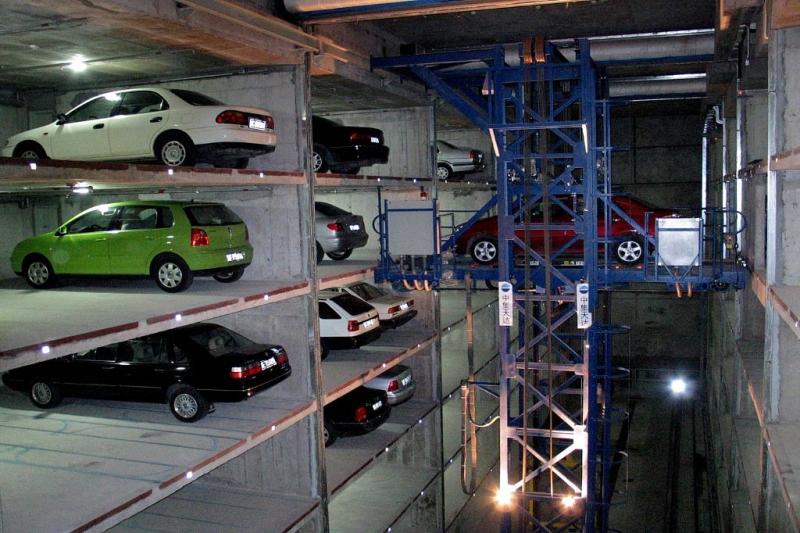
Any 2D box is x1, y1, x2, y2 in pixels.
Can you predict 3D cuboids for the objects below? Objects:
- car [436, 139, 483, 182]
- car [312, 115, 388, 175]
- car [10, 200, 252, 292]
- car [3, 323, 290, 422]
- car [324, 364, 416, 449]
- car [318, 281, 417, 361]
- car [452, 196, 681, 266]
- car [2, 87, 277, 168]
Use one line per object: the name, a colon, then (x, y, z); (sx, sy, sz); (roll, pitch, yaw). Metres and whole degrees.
car: (1.819, -3.342, 21.832); (1.988, 0.823, 1.091); (4, 9, 15)
car: (-0.749, -2.578, 14.934); (2.166, 0.704, 0.970); (4, 6, 12)
car: (-4.625, -0.468, 12.005); (3.729, 1.268, 1.727); (4, 6, 10)
car: (-4.312, 1.626, 11.975); (4.513, 1.263, 1.881); (3, 8, 12)
car: (-0.682, 3.077, 15.011); (0.839, 1.111, 2.524); (6, 14, 32)
car: (-0.712, 0.876, 16.806); (1.653, 0.988, 2.016); (8, 15, 35)
car: (3.913, -0.829, 17.215); (5.215, 1.612, 2.149); (4, 8, 16)
car: (-4.196, -2.373, 11.569); (4.044, 1.247, 0.856); (2, 13, 15)
